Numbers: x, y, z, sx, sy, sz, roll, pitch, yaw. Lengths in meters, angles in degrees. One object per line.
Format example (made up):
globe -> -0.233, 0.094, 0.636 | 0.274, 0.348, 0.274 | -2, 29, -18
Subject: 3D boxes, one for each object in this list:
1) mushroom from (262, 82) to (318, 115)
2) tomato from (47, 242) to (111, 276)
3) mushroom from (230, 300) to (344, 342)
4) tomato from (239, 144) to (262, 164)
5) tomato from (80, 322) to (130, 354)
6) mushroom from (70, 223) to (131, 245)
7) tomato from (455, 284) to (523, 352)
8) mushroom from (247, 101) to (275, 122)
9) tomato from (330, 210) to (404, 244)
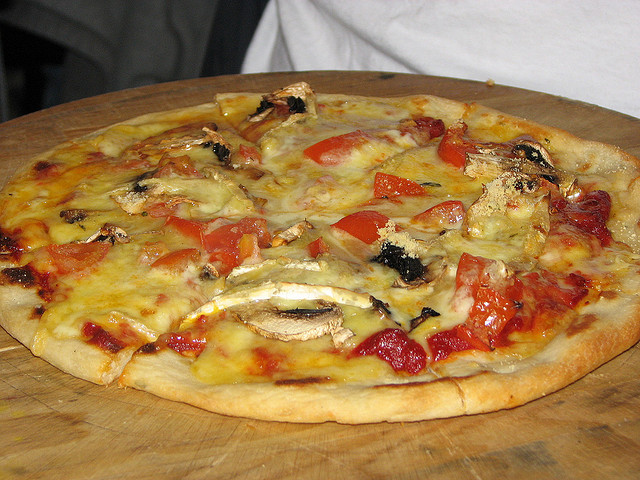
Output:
mushroom -> -0.140, -0.905, 4.383 | 0.409, 0.130, 0.353 | -13, 20, -16
tomato -> -1.114, 0.090, 3.178 | 0.279, 0.100, 0.190 | -6, 31, -16
mushroom -> -0.148, 0.344, 2.884 | 0.476, 0.096, 0.196 | 2, 29, 0
tomato -> -0.413, -0.506, 3.979 | 0.188, 0.067, 0.117 | -1, 27, -9
tomato -> -0.929, 0.416, 2.860 | 0.228, 0.036, 0.111 | 21, 30, 14
mushroom -> -1.042, -0.023, 3.246 | 0.249, 0.036, 0.116 | -12, 26, -18
tomato -> 0.717, 0.331, 2.878 | 0.197, 0.245, 0.255 | 19, 37, 17
mushroom -> -0.368, -0.817, 4.323 | 0.147, 0.044, 0.193 | 28, 61, 27
tomato -> 0.215, -0.075, 3.333 | 0.265, 0.057, 0.265 | -25, 40, -34
